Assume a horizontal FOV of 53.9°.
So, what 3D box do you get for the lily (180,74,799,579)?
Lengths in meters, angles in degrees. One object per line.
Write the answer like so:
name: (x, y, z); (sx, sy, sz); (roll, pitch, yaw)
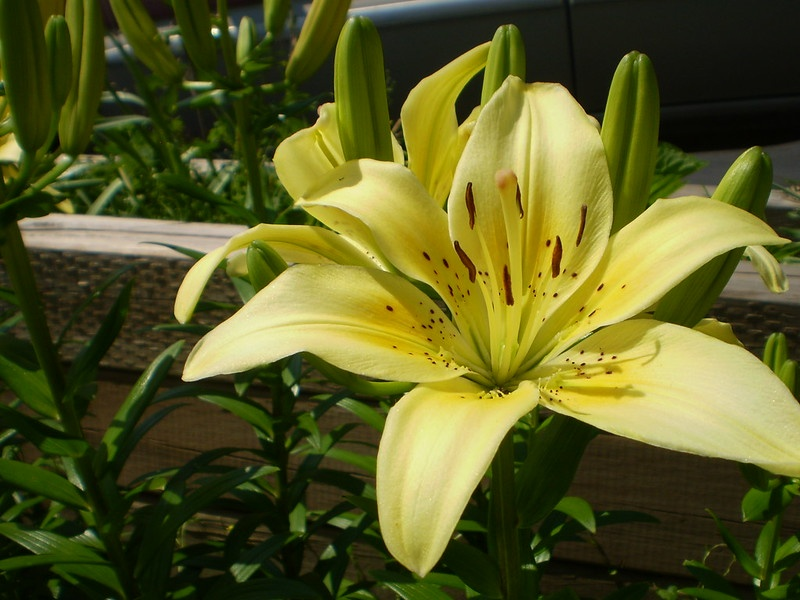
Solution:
lily: (0.095, 0.009, 0.716); (0.462, 0.336, 0.468); (-24, 35, -32)
